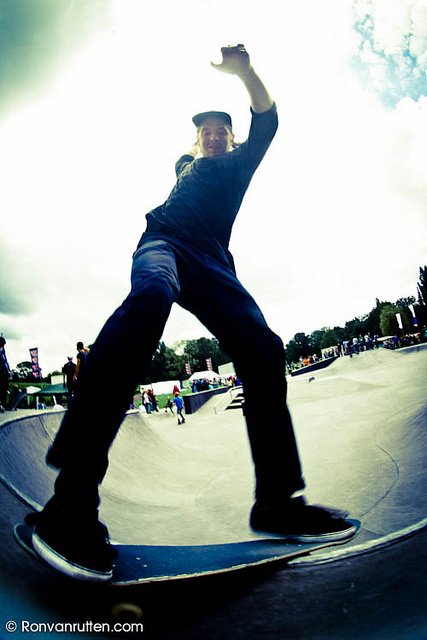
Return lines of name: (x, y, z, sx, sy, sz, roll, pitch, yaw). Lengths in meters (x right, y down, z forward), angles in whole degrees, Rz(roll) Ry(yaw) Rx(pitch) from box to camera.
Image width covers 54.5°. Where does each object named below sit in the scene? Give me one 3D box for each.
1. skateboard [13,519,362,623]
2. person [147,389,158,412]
skateboard: (0.212, 0.854, 1.784, 1.854, 0.258, 0.438, 15, -22, -35)
person: (-3.075, 4.065, 21.046, 0.611, 1.013, 0.277, 0, 22, 10)
